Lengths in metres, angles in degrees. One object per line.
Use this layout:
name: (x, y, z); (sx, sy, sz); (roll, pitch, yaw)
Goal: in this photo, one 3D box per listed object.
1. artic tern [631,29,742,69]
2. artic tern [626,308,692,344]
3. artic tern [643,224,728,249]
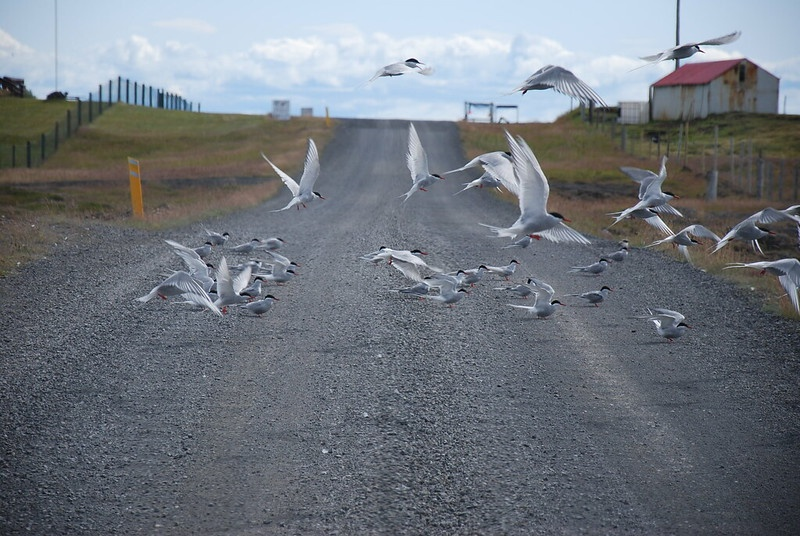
artic tern: (6.288, -4.739, 21.817); (1.881, 0.726, 3.207); (4, 19, 13)
artic tern: (5.292, 1.159, 20.300); (1.022, 0.439, 1.158); (23, 9, 38)
artic tern: (6.590, -0.753, 22.874); (1.058, 0.277, 1.229); (6, 5, 5)
